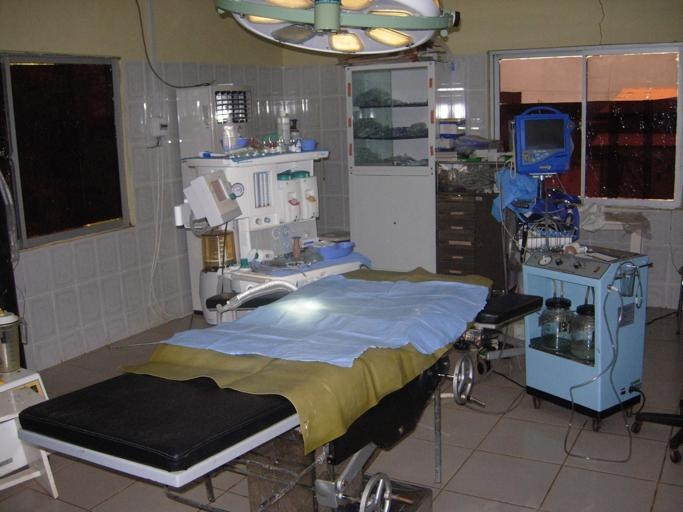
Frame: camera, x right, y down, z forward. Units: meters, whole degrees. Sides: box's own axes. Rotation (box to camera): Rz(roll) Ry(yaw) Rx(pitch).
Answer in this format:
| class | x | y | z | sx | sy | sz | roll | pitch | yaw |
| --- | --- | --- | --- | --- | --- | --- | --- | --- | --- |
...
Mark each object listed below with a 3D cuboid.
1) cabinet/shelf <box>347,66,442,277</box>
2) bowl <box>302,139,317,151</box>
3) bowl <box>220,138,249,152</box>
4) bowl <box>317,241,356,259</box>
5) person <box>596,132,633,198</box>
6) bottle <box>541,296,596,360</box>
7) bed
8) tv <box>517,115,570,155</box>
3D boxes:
| class | x | y | z | sx | sy | sz | roll | pitch | yaw |
| --- | --- | --- | --- | --- | --- | --- | --- | --- | --- |
| cabinet/shelf | 0.601 | -1.028 | 6.513 | 1.087 | 2.382 | 0.602 | 1 | 15 | 15 |
| bowl | -0.303 | -1.027 | 5.203 | 0.150 | 0.099 | 0.147 | -2 | 12 | 1 |
| bowl | -0.978 | -0.992 | 4.951 | 0.185 | 0.067 | 0.177 | -3 | 5 | 0 |
| bowl | -0.023 | -0.057 | 4.883 | 0.359 | 0.118 | 0.117 | -15 | 18 | -41 |
| person | 3.042 | -1.023 | 6.178 | 0.344 | 0.708 | 0.098 | 3 | 16 | 23 |
| bottle | 1.582 | 0.509 | 3.821 | 0.453 | 0.392 | 0.249 | 6 | 8 | 45 |
| bed | -0.120 | 0.081 | 2.595 | 1.121 | 0.510 | 2.134 | 7 | 14 | 37 |
| tv | 1.506 | -0.919 | 4.303 | 0.528 | 0.343 | 0.283 | -2 | 7 | -13 |
